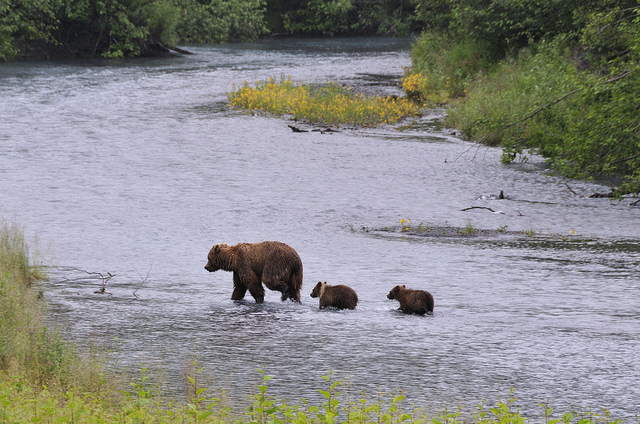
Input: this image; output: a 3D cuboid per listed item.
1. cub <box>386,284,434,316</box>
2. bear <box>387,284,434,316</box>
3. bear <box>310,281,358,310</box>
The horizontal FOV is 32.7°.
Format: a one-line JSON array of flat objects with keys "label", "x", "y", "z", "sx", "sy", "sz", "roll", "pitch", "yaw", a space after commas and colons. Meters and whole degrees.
[{"label": "cub", "x": 2.641, "y": 2.533, "z": 31.090, "sx": 1.535, "sy": 0.744, "sz": 0.558, "roll": 7, "pitch": 13, "yaw": 35}, {"label": "bear", "x": 2.670, "y": 2.526, "z": 31.105, "sx": 1.540, "sy": 0.718, "sz": 0.560, "roll": 8, "pitch": 12, "yaw": 38}, {"label": "bear", "x": 0.469, "y": 2.427, "z": 31.424, "sx": 1.370, "sy": 0.864, "sz": 0.660, "roll": 1, "pitch": 4, "yaw": 13}]
